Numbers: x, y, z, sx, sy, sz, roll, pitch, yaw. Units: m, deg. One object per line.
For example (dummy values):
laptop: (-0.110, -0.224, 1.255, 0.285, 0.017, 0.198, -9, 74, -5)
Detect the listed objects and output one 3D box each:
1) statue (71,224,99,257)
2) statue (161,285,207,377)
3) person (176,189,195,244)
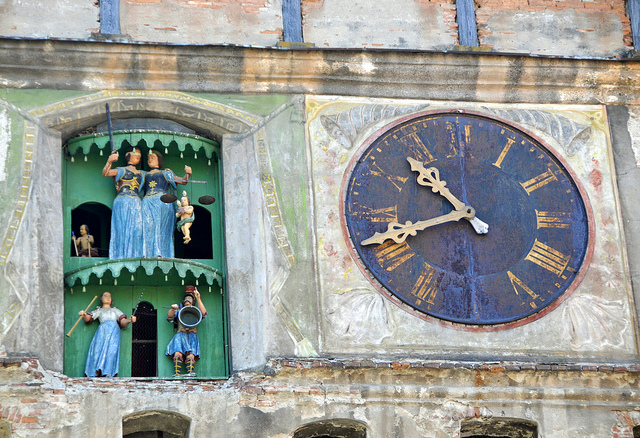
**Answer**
statue: (-3.677, 0.427, 26.454, 0.410, 0.616, 0.376, -5, 2, -20)
statue: (-2.066, 1.697, 25.981, 0.698, 1.405, 0.513, 2, -18, -3)
person: (-2.099, -0.020, 26.423, 0.265, 0.811, 0.331, -1, -32, -4)
